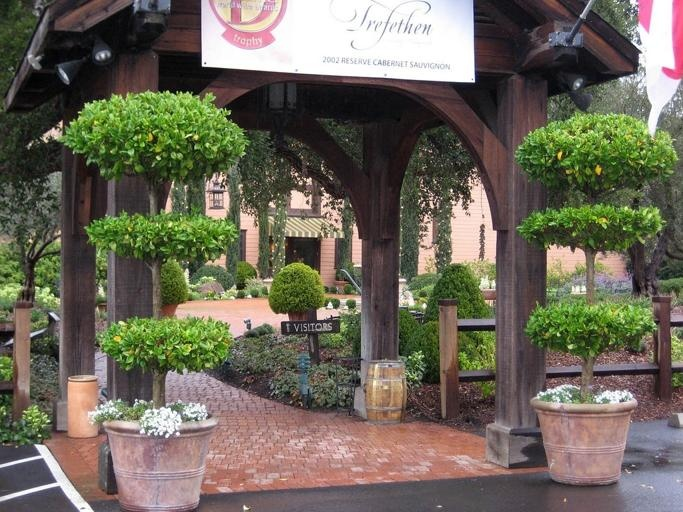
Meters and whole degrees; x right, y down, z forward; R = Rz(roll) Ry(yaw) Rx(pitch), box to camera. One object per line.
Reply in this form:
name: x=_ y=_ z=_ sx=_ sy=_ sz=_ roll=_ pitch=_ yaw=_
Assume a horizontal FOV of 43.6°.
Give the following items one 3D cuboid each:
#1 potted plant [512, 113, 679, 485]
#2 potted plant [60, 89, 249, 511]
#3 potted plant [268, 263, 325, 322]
potted plant: x=2.343 y=0.341 z=7.959 sx=1.326 sy=3.479 sz=0.851 roll=-2 pitch=-3 yaw=14
potted plant: x=-1.519 y=0.330 z=7.188 sx=1.332 sy=3.616 sz=0.779 roll=-1 pitch=-3 yaw=-2
potted plant: x=-0.833 y=0.685 z=16.228 sx=0.870 sy=1.467 sz=1.048 roll=-1 pitch=5 yaw=14
